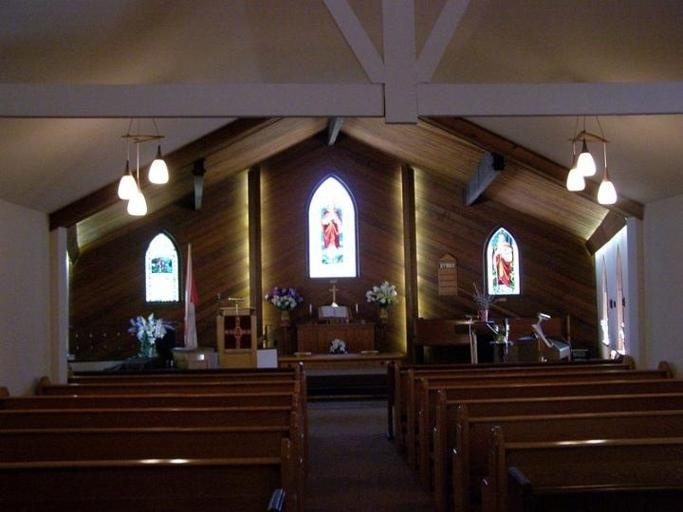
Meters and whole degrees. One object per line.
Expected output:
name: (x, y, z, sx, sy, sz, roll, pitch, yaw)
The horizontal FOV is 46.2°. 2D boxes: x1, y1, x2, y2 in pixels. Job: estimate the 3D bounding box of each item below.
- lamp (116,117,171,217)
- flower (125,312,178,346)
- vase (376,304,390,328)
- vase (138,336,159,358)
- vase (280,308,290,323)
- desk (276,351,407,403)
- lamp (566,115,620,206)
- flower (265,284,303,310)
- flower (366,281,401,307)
lamp: (-2.096, -1.041, 8.497, 0.477, 1.342, 0.311, -5, -26, -4)
flower: (-3.021, 1.134, 12.702, 0.581, 0.354, 0.578, 3, -2, -36)
vase: (0.734, 1.022, 13.756, 0.210, 0.365, 0.403, -2, -10, 3)
vase: (-3.018, 1.385, 12.582, 0.353, 0.450, 0.285, 0, 3, 4)
vase: (-0.938, 1.014, 13.542, 0.097, 0.233, 0.231, 0, 1, -3)
desk: (-0.019, 1.897, 12.255, 1.850, 0.919, 1.379, -2, -11, 7)
lamp: (2.595, -1.196, 8.383, 0.532, 1.276, 0.289, 7, -12, -8)
flower: (-0.960, 0.715, 13.576, 0.429, 0.315, 0.439, 4, -7, -17)
flower: (0.708, 0.642, 13.754, 0.431, 0.323, 0.445, 2, -2, 0)
